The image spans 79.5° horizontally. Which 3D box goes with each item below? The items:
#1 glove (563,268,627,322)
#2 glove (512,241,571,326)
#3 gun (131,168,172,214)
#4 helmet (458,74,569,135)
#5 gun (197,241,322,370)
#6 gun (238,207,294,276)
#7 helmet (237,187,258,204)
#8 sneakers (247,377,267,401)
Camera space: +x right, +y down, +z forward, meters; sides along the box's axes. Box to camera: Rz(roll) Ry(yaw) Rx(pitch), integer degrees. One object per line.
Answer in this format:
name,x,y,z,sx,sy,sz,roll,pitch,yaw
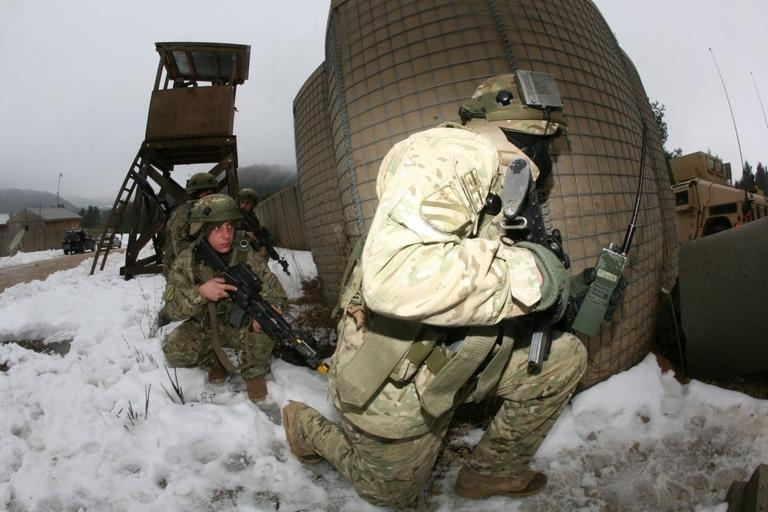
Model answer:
glove,1.464,0.280,3.226,0.401,0.404,0.140,20,8,6
glove,1.164,0.205,3.232,0.389,0.544,0.462,-17,-20,38
gun,-3.932,-1.125,7.956,0.508,0.629,1.833,-27,14,-23
helmet,1.026,-1.178,3.598,0.666,0.395,0.492,-9,17,3
gun,-1.437,0.591,5.256,1.715,0.612,0.241,47,26,16
gun,-2.136,-0.284,8.547,0.275,1.664,0.647,-41,36,-25
helmet,-2.476,-1.081,8.237,0.238,0.297,0.309,13,4,0
sneakers,-1.266,1.308,4.572,0.207,0.179,0.165,2,10,-18
